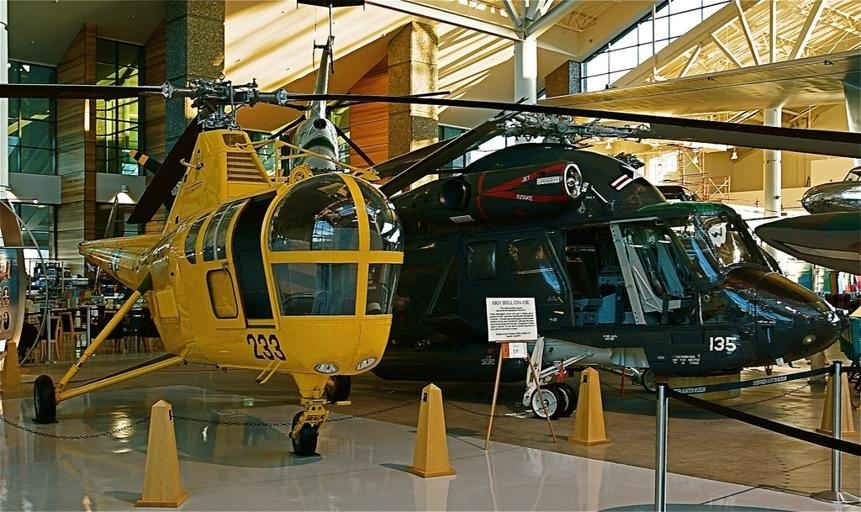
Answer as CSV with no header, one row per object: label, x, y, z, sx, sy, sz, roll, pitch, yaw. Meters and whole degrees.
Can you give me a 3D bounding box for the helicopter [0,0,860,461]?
helicopter,-2.538,-0.088,12.545,10.857,2.789,9.487,-1,3,-35
